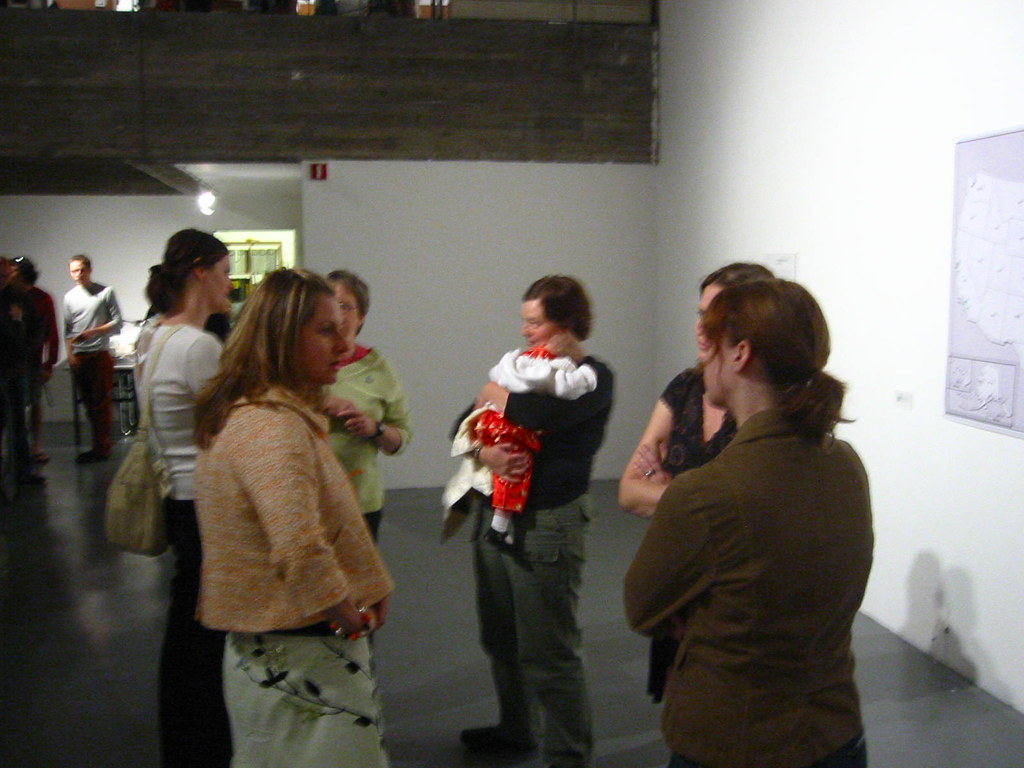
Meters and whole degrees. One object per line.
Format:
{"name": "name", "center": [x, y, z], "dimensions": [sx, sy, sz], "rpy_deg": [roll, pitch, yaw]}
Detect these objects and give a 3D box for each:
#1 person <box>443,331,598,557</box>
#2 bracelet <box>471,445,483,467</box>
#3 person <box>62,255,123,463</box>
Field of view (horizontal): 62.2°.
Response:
{"name": "person", "center": [-0.006, 0.235, 3.091], "dimensions": [0.585, 0.766, 0.241], "rpy_deg": [7, 10, 35]}
{"name": "bracelet", "center": [-0.135, 0.270, 3.121], "dimensions": [0.022, 0.052, 0.061], "rpy_deg": [-3, 41, -6]}
{"name": "person", "center": [-3.358, -0.175, 6.842], "dimensions": [0.392, 1.678, 0.521], "rpy_deg": [-3, 9, -30]}
